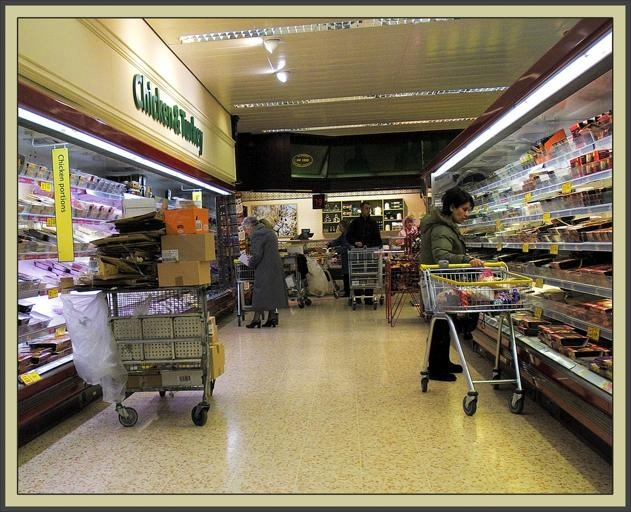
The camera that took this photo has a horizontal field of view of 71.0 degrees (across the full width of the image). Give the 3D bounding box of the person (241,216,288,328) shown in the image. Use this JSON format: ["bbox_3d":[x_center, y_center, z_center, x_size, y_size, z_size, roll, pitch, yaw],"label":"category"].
[{"bbox_3d":[-0.822,0.266,6.980,0.666,1.769,0.611,-5,3,-9],"label":"person"}]

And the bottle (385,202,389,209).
[{"bbox_3d":[2.188,-1.571,13.846,0.146,0.217,0.069,-3,4,17],"label":"bottle"}]

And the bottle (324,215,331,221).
[{"bbox_3d":[0.327,-1.211,14.007,0.263,0.269,0.031,1,6,8],"label":"bottle"}]

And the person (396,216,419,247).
[{"bbox_3d":[1.528,-0.429,7.381,0.243,0.483,0.897,-4,3,7],"label":"person"}]

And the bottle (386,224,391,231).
[{"bbox_3d":[2.209,-0.902,13.811,0.176,0.197,0.062,-4,3,5],"label":"bottle"}]

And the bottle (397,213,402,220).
[{"bbox_3d":[2.548,-1.244,13.790,0.211,0.188,0.186,2,7,-5],"label":"bottle"}]

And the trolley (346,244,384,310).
[{"bbox_3d":[1.203,0.462,8.835,0.775,0.977,1.177,-2,-10,28],"label":"trolley"}]

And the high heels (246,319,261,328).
[{"bbox_3d":[-1.005,1.096,7.157,0.236,0.093,0.117,-1,0,-6],"label":"high heels"}]

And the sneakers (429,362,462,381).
[{"bbox_3d":[1.215,1.082,4.115,0.146,0.215,0.381,2,-16,-7],"label":"sneakers"}]

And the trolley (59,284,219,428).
[{"bbox_3d":[-1.215,0.852,3.978,1.089,1.059,1.216,-3,-10,5],"label":"trolley"}]
